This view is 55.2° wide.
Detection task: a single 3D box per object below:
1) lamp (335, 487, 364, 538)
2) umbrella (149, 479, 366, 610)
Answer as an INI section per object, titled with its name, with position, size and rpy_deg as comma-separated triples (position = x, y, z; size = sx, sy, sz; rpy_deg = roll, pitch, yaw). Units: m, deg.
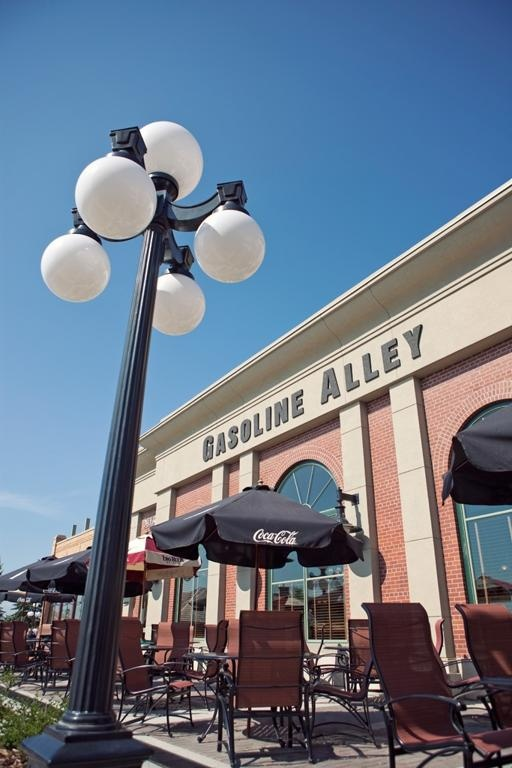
[lamp]
position = 2.164, 2.870, 11.356
size = 0.573, 0.919, 0.494
rpy_deg = -4, 8, 13
[umbrella]
position = 0.171, 1.938, 6.241
size = 1.943, 1.002, 1.942
rpy_deg = -7, -27, 25
